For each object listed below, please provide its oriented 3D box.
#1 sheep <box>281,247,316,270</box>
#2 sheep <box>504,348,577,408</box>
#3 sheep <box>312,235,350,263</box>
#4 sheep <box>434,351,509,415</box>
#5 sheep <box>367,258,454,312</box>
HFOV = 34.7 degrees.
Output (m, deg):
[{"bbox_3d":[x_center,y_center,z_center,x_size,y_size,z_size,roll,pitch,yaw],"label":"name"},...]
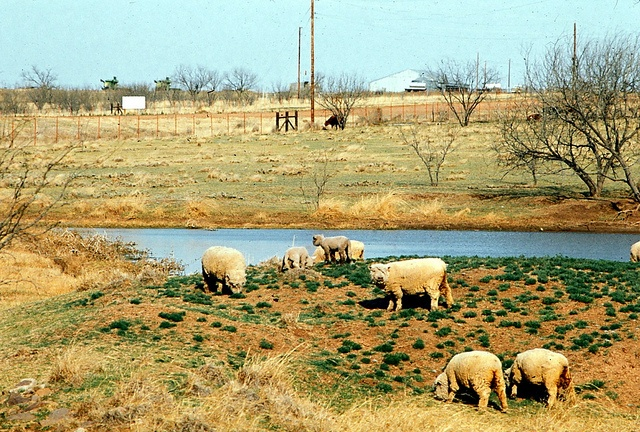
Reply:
[{"bbox_3d":[-1.190,2.234,52.220,1.486,1.294,1.153,-2,11,-8],"label":"sheep"},{"bbox_3d":[9.812,6.697,44.826,3.401,2.138,1.551,0,-4,32],"label":"sheep"},{"bbox_3d":[0.693,1.668,53.423,1.829,1.552,0.883,0,11,-2],"label":"sheep"},{"bbox_3d":[6.685,6.818,43.897,3.536,2.394,1.544,1,-5,24],"label":"sheep"},{"bbox_3d":[4.332,3.098,49.347,4.278,2.520,1.949,1,-3,7],"label":"sheep"}]
